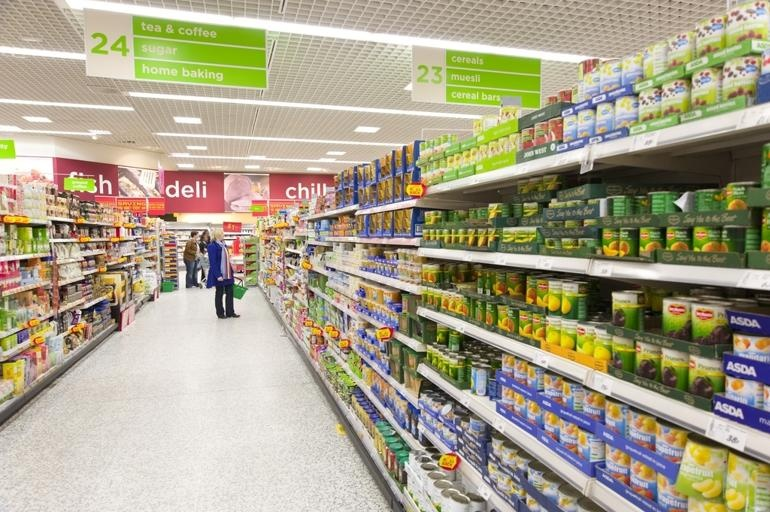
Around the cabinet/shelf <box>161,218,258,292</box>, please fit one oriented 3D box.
[{"bbox_3d":[-5.041,0.003,14.326,3.082,2.024,0.869,0,7,-6],"label":"cabinet/shelf"}]

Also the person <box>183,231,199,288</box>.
[{"bbox_3d":[-5.557,0.126,14.445,0.420,1.668,1.314,-3,9,-20],"label":"person"}]

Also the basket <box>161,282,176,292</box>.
[{"bbox_3d":[-6.004,0.856,13.913,0.336,0.193,0.306,-2,3,-18],"label":"basket"}]

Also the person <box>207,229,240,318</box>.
[{"bbox_3d":[-3.126,0.340,9.674,0.485,1.740,0.768,-3,9,-16],"label":"person"}]
